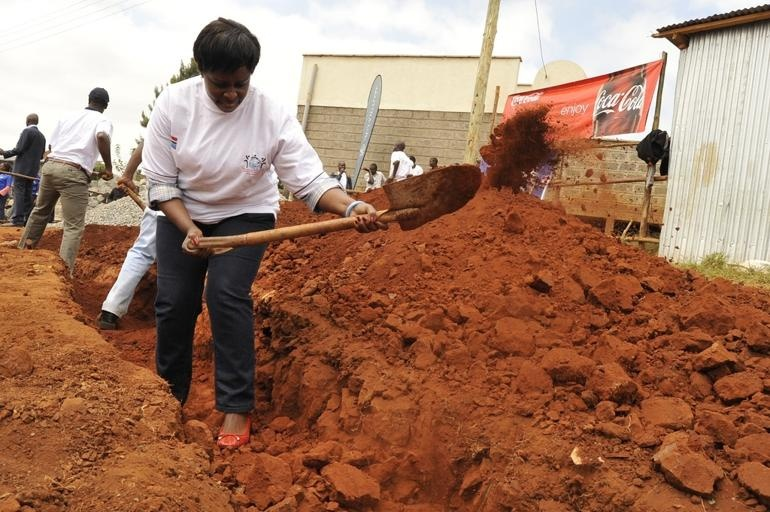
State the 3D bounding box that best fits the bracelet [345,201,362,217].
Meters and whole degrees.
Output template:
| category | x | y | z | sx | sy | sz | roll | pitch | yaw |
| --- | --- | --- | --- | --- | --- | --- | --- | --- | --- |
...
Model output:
| category | x | y | z | sx | sy | sz | roll | pitch | yaw |
| --- | --- | --- | --- | --- | --- | --- | --- | --- | --- |
| bracelet | -0.191 | -0.287 | 2.882 | 0.097 | 0.100 | 0.096 | 0 | 10 | -30 |
